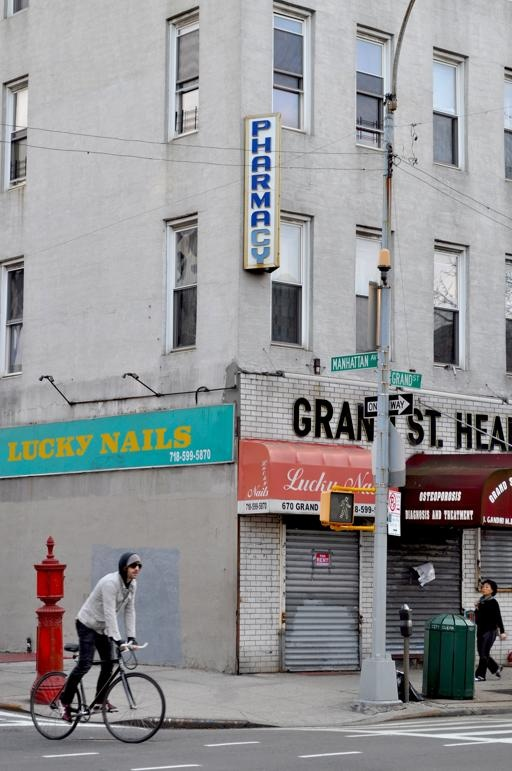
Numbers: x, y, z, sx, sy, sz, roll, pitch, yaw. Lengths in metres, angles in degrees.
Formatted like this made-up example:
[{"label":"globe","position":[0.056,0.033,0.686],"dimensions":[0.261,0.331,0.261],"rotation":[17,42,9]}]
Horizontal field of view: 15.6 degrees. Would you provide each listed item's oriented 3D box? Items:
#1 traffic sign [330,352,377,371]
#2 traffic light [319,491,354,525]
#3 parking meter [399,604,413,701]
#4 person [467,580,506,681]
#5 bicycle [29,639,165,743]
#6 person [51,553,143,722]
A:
[{"label":"traffic sign","position":[1.275,-0.297,23.987],"dimensions":[0.716,0.233,0.241],"rotation":[-7,-12,37]},{"label":"traffic light","position":[1.013,1.550,23.484],"dimensions":[0.441,0.422,0.263],"rotation":[3,-9,-10]},{"label":"parking meter","position":[1.879,3.346,23.497],"dimensions":[0.076,1.054,0.117],"rotation":[-5,-8,37]},{"label":"person","position":[3.279,3.453,26.773],"dimensions":[0.361,1.536,0.482],"rotation":[0,-3,-20]},{"label":"bicycle","position":[-1.679,3.305,19.962],"dimensions":[1.330,1.044,1.765],"rotation":[3,-10,-8]},{"label":"person","position":[-1.566,2.661,20.146],"dimensions":[0.724,1.848,0.796],"rotation":[-4,-12,21]}]
